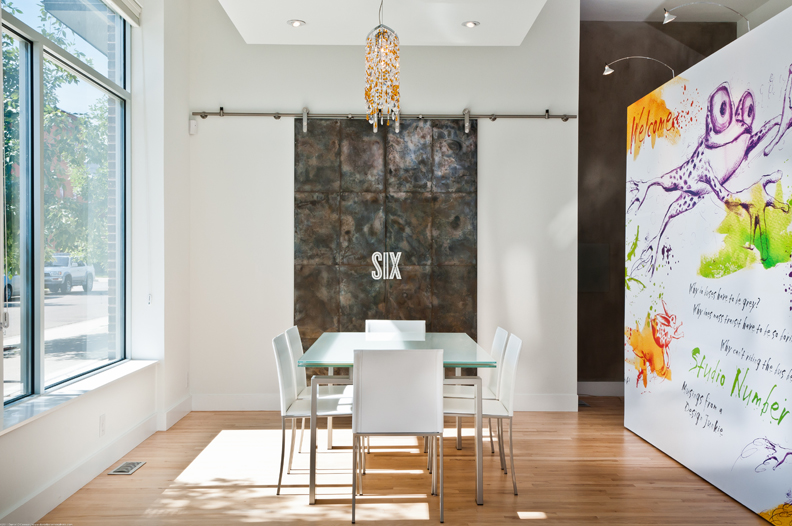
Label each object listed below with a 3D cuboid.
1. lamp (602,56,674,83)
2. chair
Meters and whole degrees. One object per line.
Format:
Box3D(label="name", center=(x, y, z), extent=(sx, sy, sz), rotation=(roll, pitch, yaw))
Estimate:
Box3D(label="lamp", center=(2.990, -2.393, 7.460), extent=(0.805, 0.259, 0.063), rotation=(1, 12, 1))
Box3D(label="chair", center=(-0.219, 1.406, 5.930), extent=(1.540, 1.107, 1.705), rotation=(-1, -3, 4))
